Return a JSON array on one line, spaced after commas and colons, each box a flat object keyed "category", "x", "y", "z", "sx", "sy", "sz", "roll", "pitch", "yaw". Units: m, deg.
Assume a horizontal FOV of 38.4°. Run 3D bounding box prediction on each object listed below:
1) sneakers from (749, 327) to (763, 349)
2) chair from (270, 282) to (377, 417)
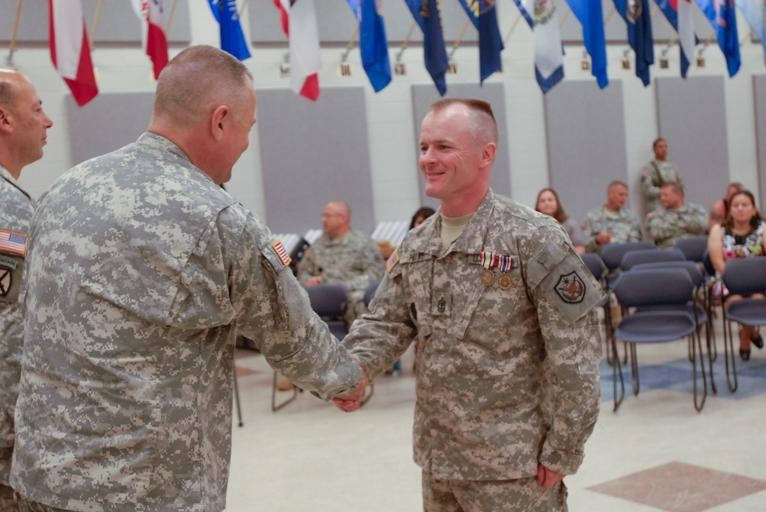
[{"category": "sneakers", "x": 3.874, "y": 0.862, "z": 11.437, "sx": 0.063, "sy": 0.241, "sz": 0.086, "roll": -13, "pitch": -27, "yaw": -13}, {"category": "chair", "x": -0.499, "y": 0.939, "z": 11.141, "sx": 1.401, "sy": 1.689, "sz": 1.112, "roll": 0, "pitch": -4, "yaw": 6}]
